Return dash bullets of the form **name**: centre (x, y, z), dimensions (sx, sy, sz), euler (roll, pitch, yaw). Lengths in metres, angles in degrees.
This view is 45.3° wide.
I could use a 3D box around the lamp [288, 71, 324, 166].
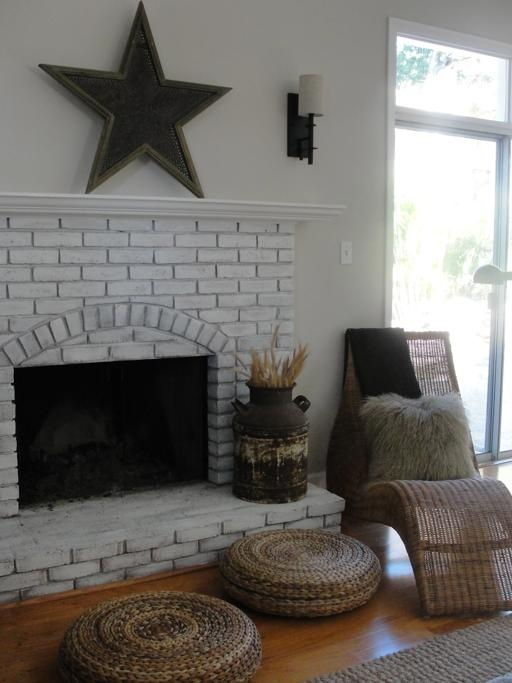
- **lamp**: centre (0.215, -0.896, 2.504), dimensions (0.152, 0.322, 0.198), euler (0, 6, -15)
